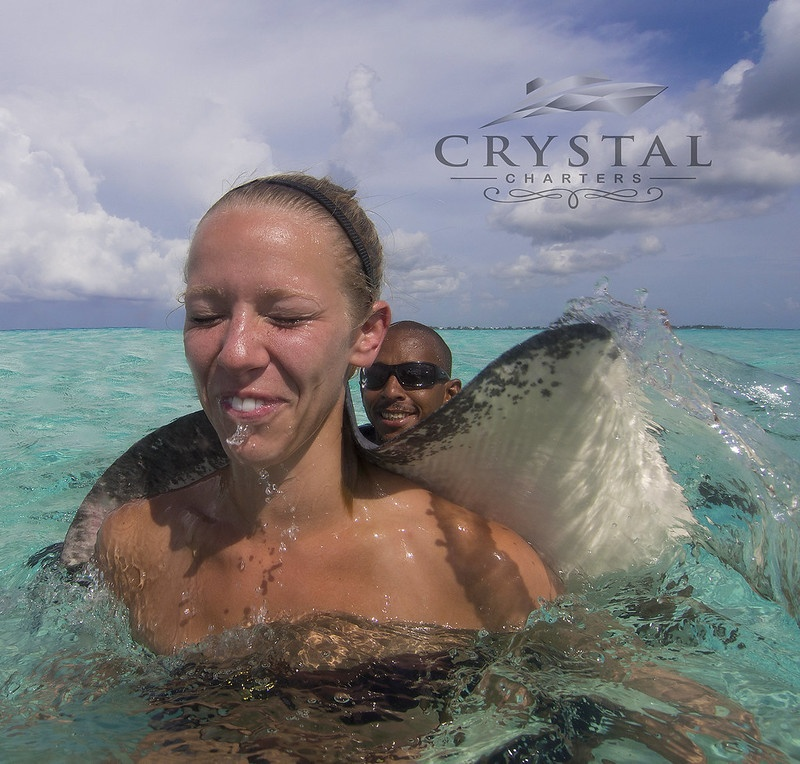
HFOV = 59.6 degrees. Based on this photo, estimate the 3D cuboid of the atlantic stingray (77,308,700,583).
[{"bbox_3d":[0.080,0.323,2.594,1.524,0.303,1.389,-17,-23,35],"label":"atlantic stingray"}]
